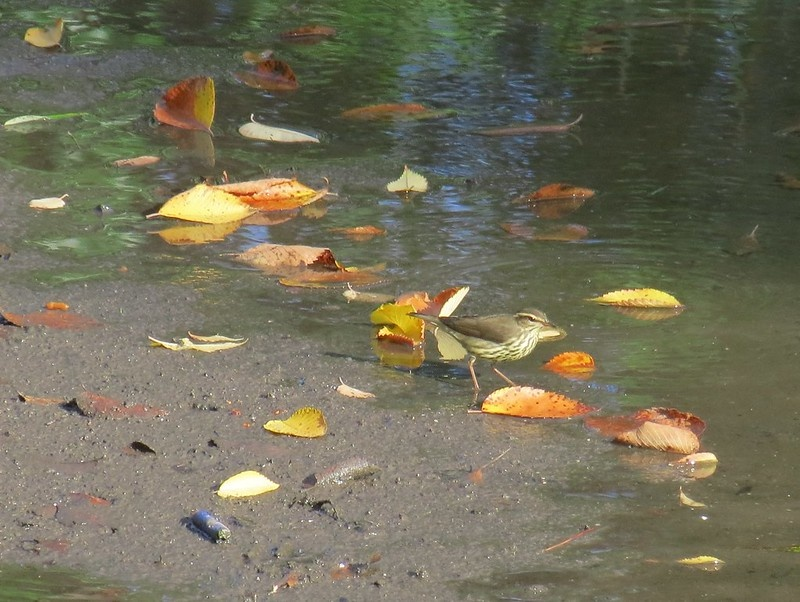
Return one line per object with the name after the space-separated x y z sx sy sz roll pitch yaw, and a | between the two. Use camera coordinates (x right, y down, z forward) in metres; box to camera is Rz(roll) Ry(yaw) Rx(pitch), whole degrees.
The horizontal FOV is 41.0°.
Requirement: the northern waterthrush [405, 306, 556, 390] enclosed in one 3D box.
0.424 0.185 5.862 0.934 0.318 0.239 10 25 27 | northern waterthrush
